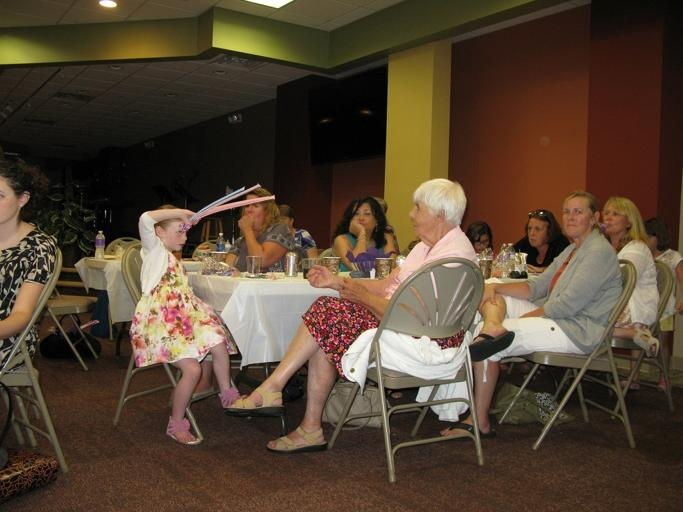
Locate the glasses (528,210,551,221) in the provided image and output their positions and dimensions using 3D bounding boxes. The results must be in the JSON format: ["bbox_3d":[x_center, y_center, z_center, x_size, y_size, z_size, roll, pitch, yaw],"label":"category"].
[{"bbox_3d":[1.987,-0.415,5.150,0.107,0.055,0.142,2,1,-17],"label":"glasses"}]

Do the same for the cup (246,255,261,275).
[{"bbox_3d":[-0.532,0.053,3.198,0.095,0.114,0.099,1,6,0],"label":"cup"}]

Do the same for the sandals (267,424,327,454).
[{"bbox_3d":[-0.231,0.960,2.743,0.254,0.117,0.135,2,-6,-5],"label":"sandals"}]

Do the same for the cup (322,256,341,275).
[{"bbox_3d":[-0.062,0.056,3.243,0.101,0.109,0.097,0,-1,0],"label":"cup"}]

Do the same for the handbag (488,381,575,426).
[{"bbox_3d":[1.200,0.978,3.431,0.269,0.148,0.356,1,-3,-17],"label":"handbag"}]

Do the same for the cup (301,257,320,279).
[{"bbox_3d":[-0.197,0.071,3.206,0.119,0.129,0.100,0,2,-10],"label":"cup"}]

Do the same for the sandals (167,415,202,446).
[{"bbox_3d":[-0.874,0.953,2.862,0.226,0.113,0.106,2,-5,39],"label":"sandals"}]

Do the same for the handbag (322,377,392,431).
[{"bbox_3d":[0.082,0.827,3.106,0.335,0.364,0.234,8,2,-2],"label":"handbag"}]

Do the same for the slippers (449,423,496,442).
[{"bbox_3d":[0.753,0.976,2.908,0.307,0.087,0.124,9,-12,-25],"label":"slippers"}]

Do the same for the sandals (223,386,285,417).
[{"bbox_3d":[-0.437,0.739,2.645,0.302,0.139,0.126,3,-8,-3],"label":"sandals"}]

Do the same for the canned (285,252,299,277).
[{"bbox_3d":[-0.319,0.051,3.371,0.128,0.156,0.091,4,4,29],"label":"canned"}]

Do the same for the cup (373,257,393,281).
[{"bbox_3d":[0.263,0.069,3.219,0.113,0.136,0.114,2,-1,0],"label":"cup"}]

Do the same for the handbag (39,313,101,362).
[{"bbox_3d":[-2.588,0.806,4.975,0.537,0.544,0.358,6,-17,-14],"label":"handbag"}]

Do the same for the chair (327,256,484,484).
[{"bbox_3d":[0.370,0.543,2.630,0.759,1.137,0.486,-4,9,-10],"label":"chair"}]

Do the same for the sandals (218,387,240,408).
[{"bbox_3d":[-0.587,0.760,2.744,0.101,0.105,0.039,-27,-32,19],"label":"sandals"}]

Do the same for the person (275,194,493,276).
[{"bbox_3d":[0.370,-0.191,4.153,0.999,0.561,1.250,7,10,21],"label":"person"}]
